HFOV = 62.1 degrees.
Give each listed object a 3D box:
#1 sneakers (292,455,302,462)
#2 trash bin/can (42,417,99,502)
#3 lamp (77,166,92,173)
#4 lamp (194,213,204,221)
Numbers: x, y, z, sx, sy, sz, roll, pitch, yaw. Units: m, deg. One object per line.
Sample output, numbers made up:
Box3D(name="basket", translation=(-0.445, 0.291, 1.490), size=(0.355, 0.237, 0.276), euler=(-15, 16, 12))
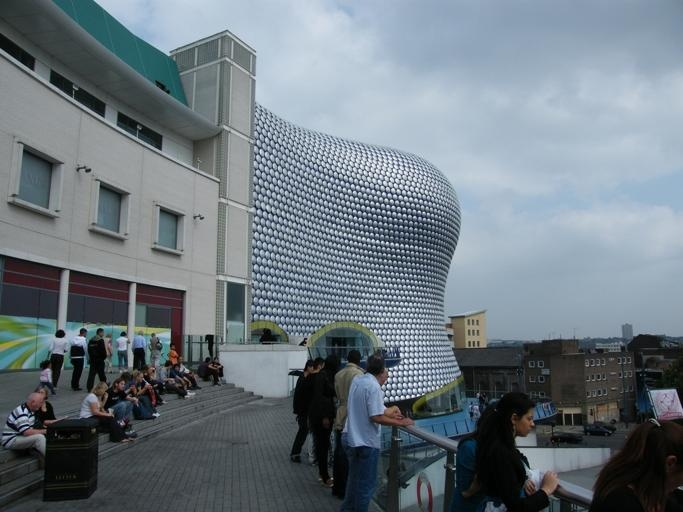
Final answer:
Box3D(name="sneakers", translation=(-0.720, 3.157, 8.860), size=(0.110, 0.093, 0.091), euler=(-2, -3, 3))
Box3D(name="trash bin/can", translation=(-3.385, 2.552, 7.104), size=(0.590, 0.958, 0.356), euler=(6, -13, -29))
Box3D(name="lamp", translation=(-8.122, -2.723, 17.896), size=(0.352, 0.207, 0.173), euler=(0, -1, -13))
Box3D(name="lamp", translation=(-5.901, -1.599, 23.433), size=(0.337, 0.215, 0.202), euler=(3, 0, -14))
